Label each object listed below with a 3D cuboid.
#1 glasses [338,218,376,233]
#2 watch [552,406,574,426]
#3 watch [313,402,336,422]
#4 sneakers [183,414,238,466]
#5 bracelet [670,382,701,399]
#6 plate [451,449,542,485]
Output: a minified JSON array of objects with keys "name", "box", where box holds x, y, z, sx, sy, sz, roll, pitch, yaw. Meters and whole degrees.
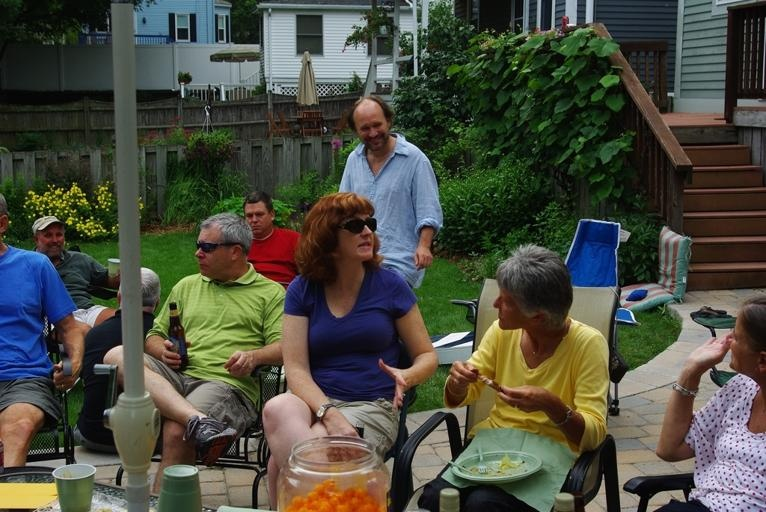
[{"name":"glasses","box":[-0.145,-0.201,5.264,0.285,0.102,0.101,-5,8,-41]},{"name":"watch","box":[1.053,0.945,4.646,0.101,0.037,0.106,-37,12,29]},{"name":"watch","box":[-0.364,0.963,4.939,0.029,0.100,0.103,31,47,17]},{"name":"sneakers","box":[-1.127,1.171,5.078,0.354,0.307,0.201,3,7,33]},{"name":"bracelet","box":[1.740,0.769,4.562,0.101,0.047,0.102,17,3,38]},{"name":"plate","box":[0.661,1.234,4.654,0.530,0.130,0.264,1,6,9]}]
